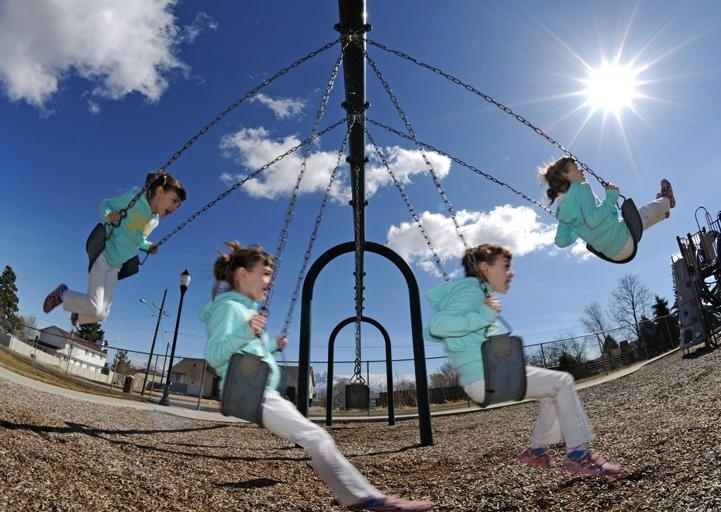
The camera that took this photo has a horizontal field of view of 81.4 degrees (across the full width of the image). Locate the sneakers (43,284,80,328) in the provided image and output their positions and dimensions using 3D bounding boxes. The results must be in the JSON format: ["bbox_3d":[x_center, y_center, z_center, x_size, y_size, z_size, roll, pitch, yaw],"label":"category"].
[{"bbox_3d":[-2.836,0.441,4.091,0.149,0.506,0.199,-3,-4,2],"label":"sneakers"}]

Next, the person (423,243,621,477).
[{"bbox_3d":[1.259,0.829,3.652,1.294,1.942,0.663,7,-20,-20],"label":"person"}]

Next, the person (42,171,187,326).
[{"bbox_3d":[-2.400,-0.088,4.201,0.794,1.641,0.785,11,-24,22],"label":"person"}]
